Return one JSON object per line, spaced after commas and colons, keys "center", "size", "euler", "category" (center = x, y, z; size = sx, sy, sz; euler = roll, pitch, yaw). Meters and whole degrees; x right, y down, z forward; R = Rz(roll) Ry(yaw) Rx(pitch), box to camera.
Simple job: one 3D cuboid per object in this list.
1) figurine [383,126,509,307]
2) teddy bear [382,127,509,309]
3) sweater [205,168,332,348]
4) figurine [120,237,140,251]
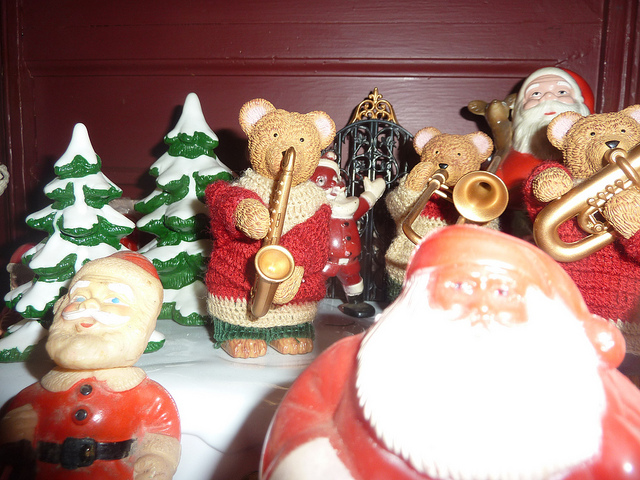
{"center": [0.236, -0.087, 1.260], "size": [0.241, 0.385, 0.575], "euler": [3, 38, 17], "category": "figurine"}
{"center": [0.260, 0.018, 1.301], "size": [0.297, 0.523, 0.300], "euler": [2, 14, 0], "category": "teddy bear"}
{"center": [-0.124, 0.044, 1.375], "size": [0.325, 0.441, 0.259], "euler": [2, -1, -6], "category": "sweater"}
{"center": [-0.577, 0.013, 1.692], "size": [0.033, 0.016, 0.053], "euler": [-6, -7, -21], "category": "figurine"}
